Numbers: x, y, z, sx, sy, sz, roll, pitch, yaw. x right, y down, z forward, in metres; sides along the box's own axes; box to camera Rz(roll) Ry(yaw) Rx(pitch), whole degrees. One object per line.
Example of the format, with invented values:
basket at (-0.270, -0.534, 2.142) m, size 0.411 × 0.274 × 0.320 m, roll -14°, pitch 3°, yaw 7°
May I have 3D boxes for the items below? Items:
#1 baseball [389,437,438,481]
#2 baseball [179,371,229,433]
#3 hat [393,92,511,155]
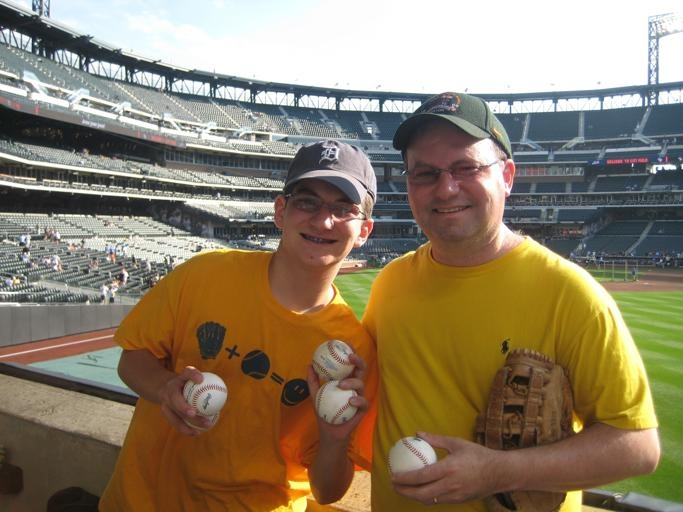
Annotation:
baseball at (0.415, 1.181, 3.367) m, size 0.272 × 0.182 × 0.136 m, roll 7°, pitch 3°, yaw 3°
baseball at (-0.821, 0.859, 3.463) m, size 0.274 × 0.218 × 0.173 m, roll 6°, pitch 3°, yaw -37°
hat at (0.754, -0.899, 3.731) m, size 0.504 × 0.360 × 0.702 m, roll 5°, pitch 0°, yaw 36°
